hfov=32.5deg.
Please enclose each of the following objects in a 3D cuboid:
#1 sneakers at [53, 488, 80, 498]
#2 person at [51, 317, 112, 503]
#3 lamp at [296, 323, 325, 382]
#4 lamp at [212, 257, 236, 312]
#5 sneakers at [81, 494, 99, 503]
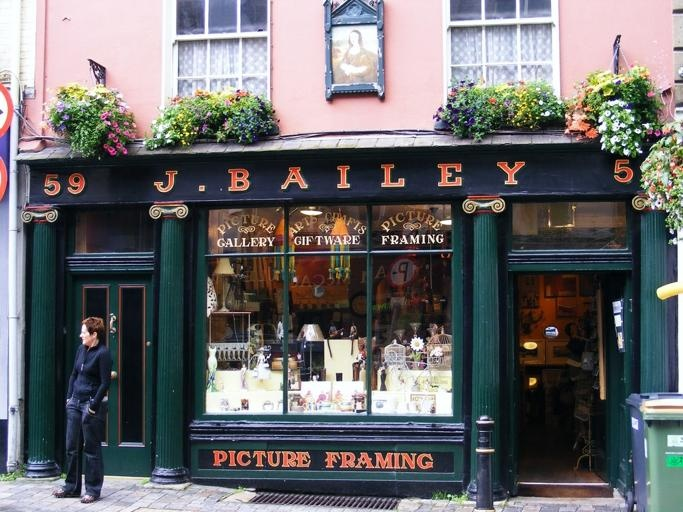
[{"bbox_3d":[-3.803,3.277,16.307,0.329,0.123,0.133,10,-13,-16],"label":"sneakers"},{"bbox_3d":[-3.518,2.126,16.258,0.451,2.530,0.749,5,-10,-39],"label":"person"},{"bbox_3d":[-0.417,1.379,17.080,0.380,0.834,0.112,-1,-7,0],"label":"lamp"},{"bbox_3d":[-1.701,0.401,17.231,0.294,0.795,0.113,0,-8,-5],"label":"lamp"},{"bbox_3d":[-3.430,3.323,16.069,0.177,0.068,0.099,-3,10,-14],"label":"sneakers"}]
